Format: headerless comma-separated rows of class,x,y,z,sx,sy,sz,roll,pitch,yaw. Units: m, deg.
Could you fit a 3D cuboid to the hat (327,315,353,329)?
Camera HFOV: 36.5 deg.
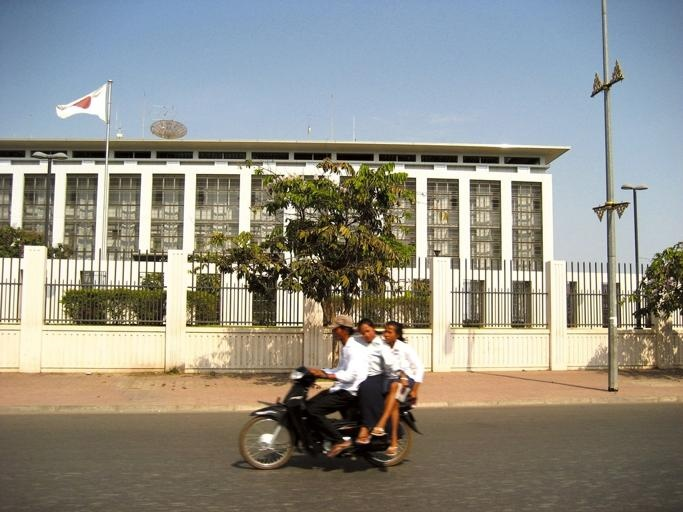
hat,0.008,1.369,21.534,0.369,0.223,0.288,3,-8,4

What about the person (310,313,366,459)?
person,-0.059,2.680,21.373,1.193,2.920,0.368,-1,-3,1
